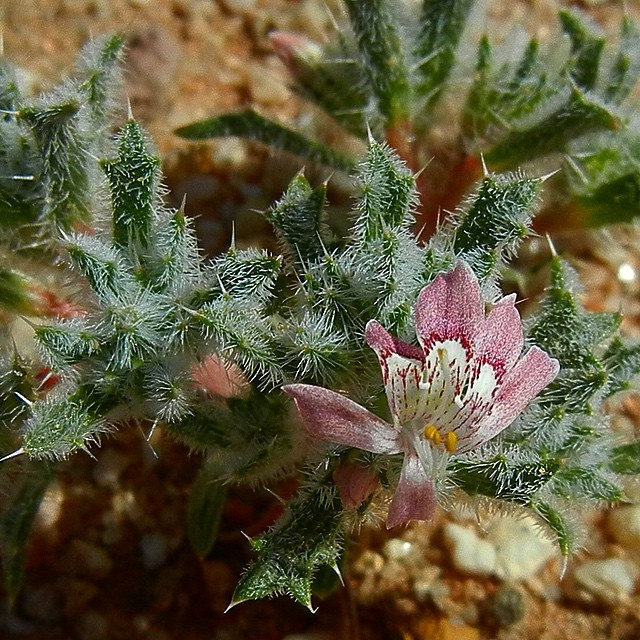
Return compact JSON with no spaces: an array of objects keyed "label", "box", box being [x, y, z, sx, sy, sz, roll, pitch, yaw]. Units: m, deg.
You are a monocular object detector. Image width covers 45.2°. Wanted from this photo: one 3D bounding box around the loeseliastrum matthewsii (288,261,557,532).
[{"label":"loeseliastrum matthewsii","box":[0.308,0.176,1.587,0.576,0.233,0.548,-26,95,-50]}]
